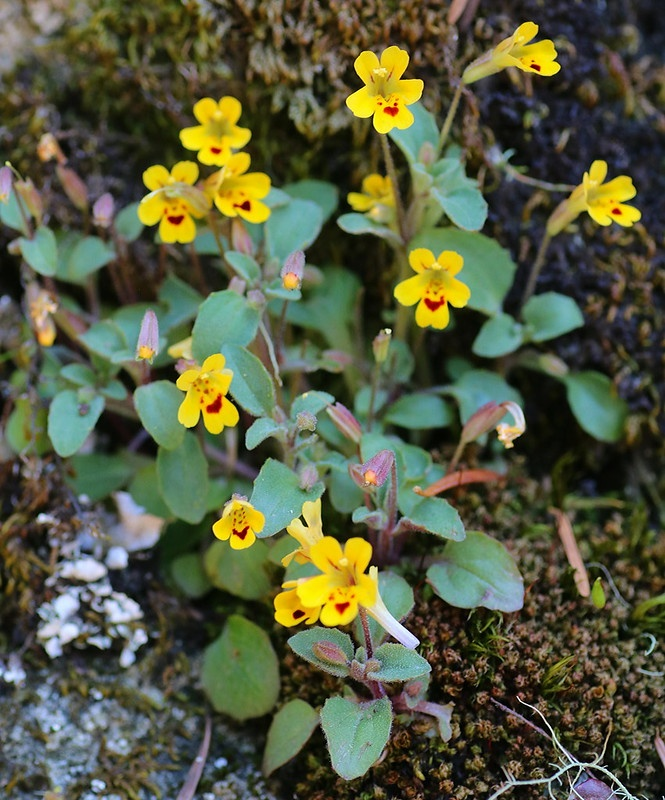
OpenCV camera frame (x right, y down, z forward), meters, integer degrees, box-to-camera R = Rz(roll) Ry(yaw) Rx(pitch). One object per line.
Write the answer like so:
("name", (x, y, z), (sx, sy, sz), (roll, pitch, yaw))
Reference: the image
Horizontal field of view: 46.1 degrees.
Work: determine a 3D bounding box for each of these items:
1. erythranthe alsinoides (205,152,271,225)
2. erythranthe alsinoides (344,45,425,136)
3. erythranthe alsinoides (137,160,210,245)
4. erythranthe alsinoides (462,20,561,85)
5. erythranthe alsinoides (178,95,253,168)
("erythranthe alsinoides", (-0.207, -0.452, 1.750), (0.135, 0.195, 0.164), (-7, 62, -5))
("erythranthe alsinoides", (0.099, -0.646, 1.616), (0.153, 0.168, 0.070), (4, 78, 24))
("erythranthe alsinoides", (-0.350, -0.431, 1.713), (0.185, 0.065, 0.170), (-20, 108, -4))
("erythranthe alsinoides", (0.379, -0.734, 1.675), (0.231, 0.101, 0.121), (-8, 96, -11))
("erythranthe alsinoides", (-0.261, -0.593, 1.749), (0.167, 0.167, 0.044), (-28, 59, -4))
